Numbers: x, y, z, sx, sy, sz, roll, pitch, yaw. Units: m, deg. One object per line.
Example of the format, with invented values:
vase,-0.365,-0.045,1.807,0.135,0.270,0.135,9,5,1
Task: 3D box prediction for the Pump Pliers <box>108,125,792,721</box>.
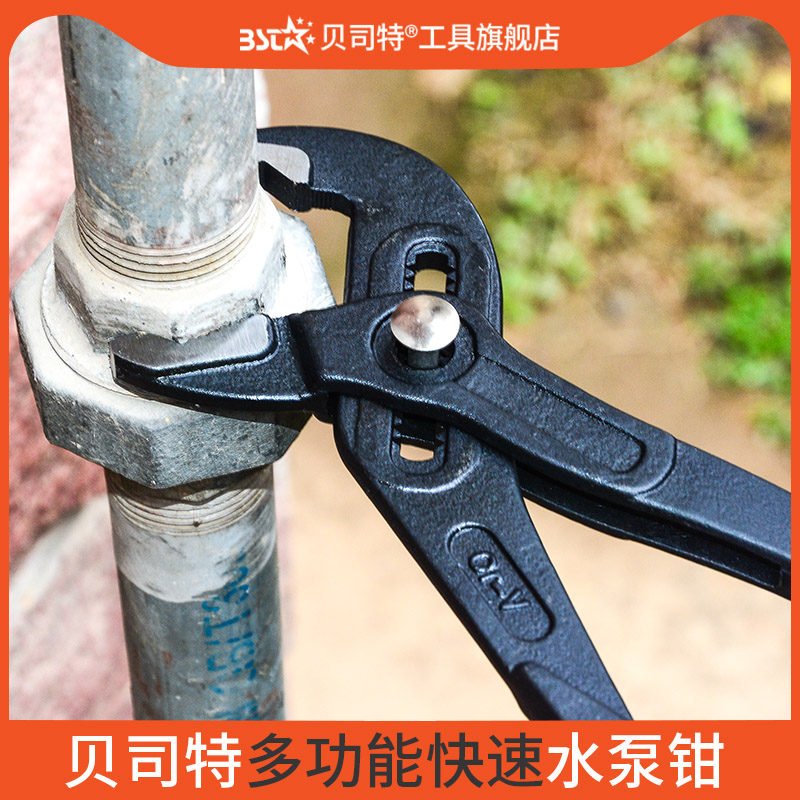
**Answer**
Pump Pliers,0.083,-0.041,1.291,0.671,0.748,0.503,-14,2,20
